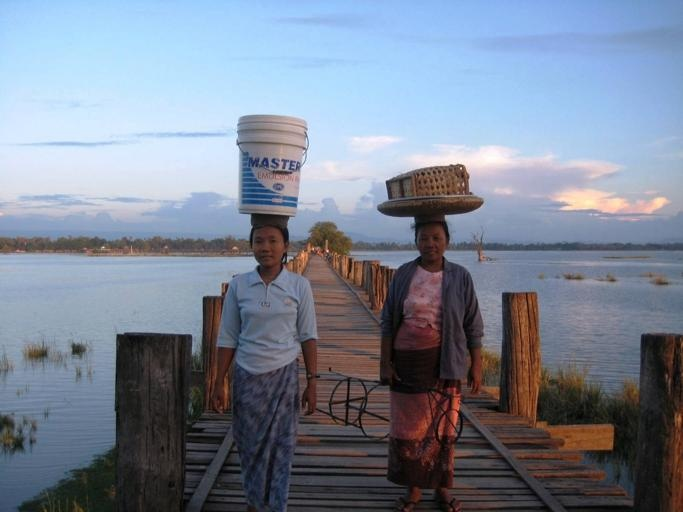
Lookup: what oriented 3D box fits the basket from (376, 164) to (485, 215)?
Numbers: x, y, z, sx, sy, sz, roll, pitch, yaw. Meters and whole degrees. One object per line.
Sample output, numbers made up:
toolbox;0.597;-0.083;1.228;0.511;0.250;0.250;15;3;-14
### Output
basket;0.774;-0.573;6.309;0.881;0.454;0.386;0;2;12
